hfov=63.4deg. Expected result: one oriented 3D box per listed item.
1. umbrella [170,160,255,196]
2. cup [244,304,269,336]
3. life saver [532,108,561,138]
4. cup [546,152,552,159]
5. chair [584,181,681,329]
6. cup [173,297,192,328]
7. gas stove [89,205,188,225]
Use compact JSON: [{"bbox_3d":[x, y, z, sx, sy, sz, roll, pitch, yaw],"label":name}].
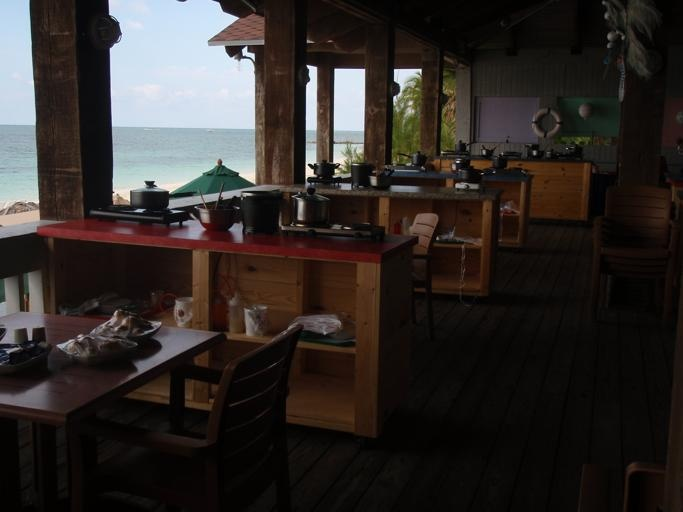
[{"bbox_3d":[-1.856,-1.117,8.243,1.456,0.485,1.449,-1,4,21],"label":"umbrella"},{"bbox_3d":[-0.455,0.344,3.014,0.146,0.147,0.146,2,8,0],"label":"cup"},{"bbox_3d":[4.652,-2.983,12.403,0.689,0.686,0.556,4,12,13],"label":"life saver"},{"bbox_3d":[3.749,-1.815,9.928,0.091,0.120,0.131,-5,7,-36],"label":"cup"},{"bbox_3d":[2.613,-0.029,4.895,0.659,1.140,0.978,8,14,29],"label":"chair"},{"bbox_3d":[-0.871,0.311,3.127,0.120,0.150,0.152,2,10,-8],"label":"cup"},{"bbox_3d":[-1.193,-0.245,3.277,0.372,0.085,0.218,5,10,13],"label":"gas stove"}]
